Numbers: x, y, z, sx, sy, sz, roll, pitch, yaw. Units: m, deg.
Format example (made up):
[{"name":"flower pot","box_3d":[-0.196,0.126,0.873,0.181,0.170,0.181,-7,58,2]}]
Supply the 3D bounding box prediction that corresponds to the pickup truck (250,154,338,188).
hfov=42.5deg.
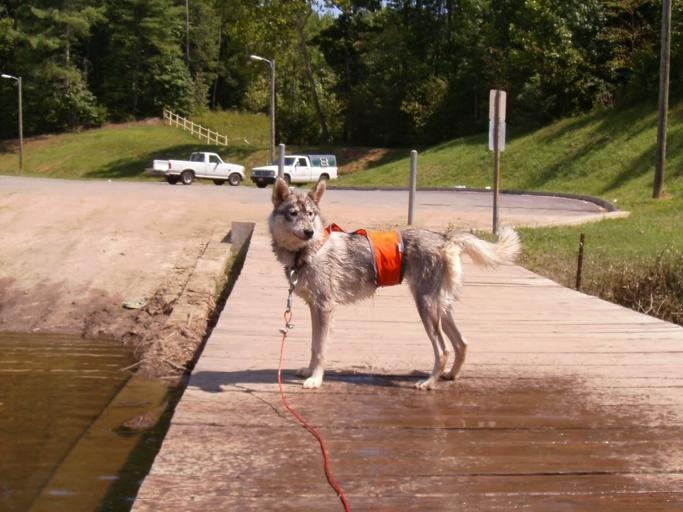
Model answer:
[{"name":"pickup truck","box_3d":[-1.855,-4.034,39.443,2.758,1.831,5.409,2,3,45]}]
